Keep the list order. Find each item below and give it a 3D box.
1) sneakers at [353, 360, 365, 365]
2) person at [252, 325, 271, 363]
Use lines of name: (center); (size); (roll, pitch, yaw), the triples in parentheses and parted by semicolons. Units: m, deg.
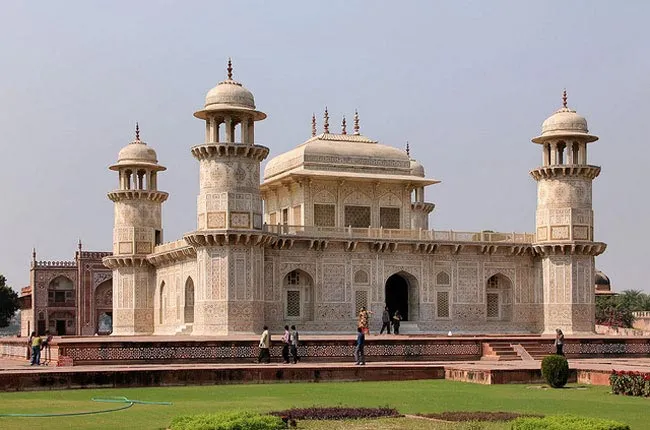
sneakers: (1.333, 5.673, 59.090); (0.494, 0.187, 0.155); (2, -8, 42)
person: (-2.381, 5.051, 60.064); (0.502, 1.448, 1.006); (-1, -9, -2)
